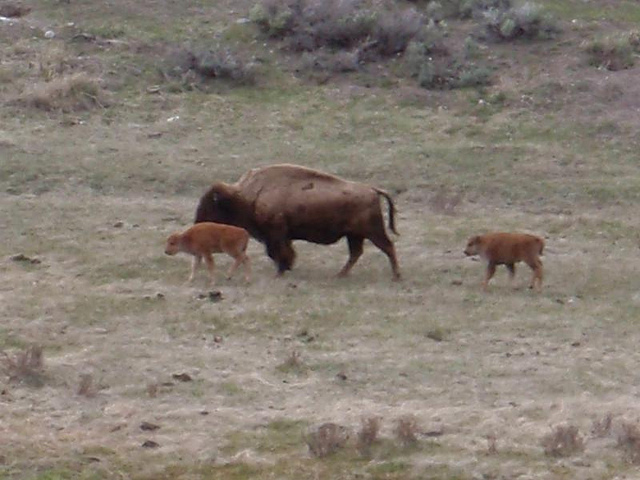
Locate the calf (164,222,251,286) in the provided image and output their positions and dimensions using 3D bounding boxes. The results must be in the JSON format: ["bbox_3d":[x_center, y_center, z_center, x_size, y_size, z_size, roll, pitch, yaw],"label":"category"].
[{"bbox_3d":[-2.683,0.325,32.422,2.049,1.464,1.146,3,9,-4],"label":"calf"}]

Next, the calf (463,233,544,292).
[{"bbox_3d":[4.520,0.528,31.959,1.970,1.405,0.517,0,4,14],"label":"calf"}]
